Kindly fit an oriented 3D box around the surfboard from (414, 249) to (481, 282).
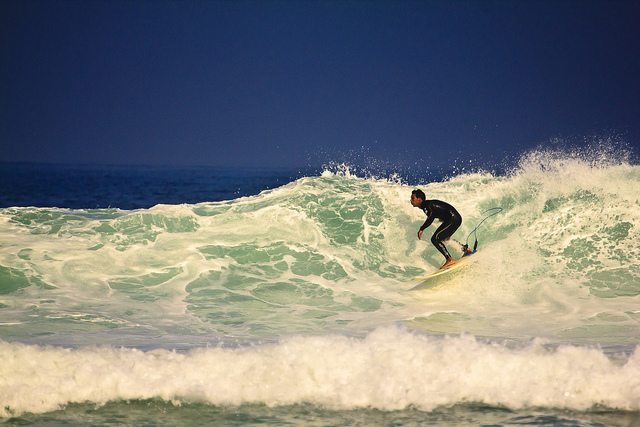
[{"bbox_3d":[2.973,1.221,17.347,1.463,0.162,0.214,-23,-40,3],"label":"surfboard"}]
